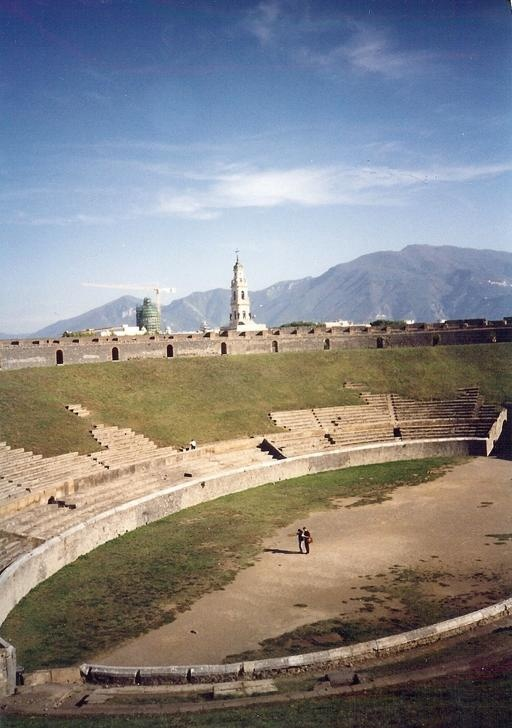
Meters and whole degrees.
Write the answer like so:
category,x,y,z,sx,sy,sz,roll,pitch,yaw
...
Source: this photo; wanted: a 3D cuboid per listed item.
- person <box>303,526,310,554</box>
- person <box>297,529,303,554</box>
category,x,y,z,sx,sy,sz,roll,pitch,yaw
person,1.759,6.094,29.374,0.230,0.798,0.351,0,6,-1
person,1.566,6.115,29.434,0.170,0.753,0.367,0,6,2
